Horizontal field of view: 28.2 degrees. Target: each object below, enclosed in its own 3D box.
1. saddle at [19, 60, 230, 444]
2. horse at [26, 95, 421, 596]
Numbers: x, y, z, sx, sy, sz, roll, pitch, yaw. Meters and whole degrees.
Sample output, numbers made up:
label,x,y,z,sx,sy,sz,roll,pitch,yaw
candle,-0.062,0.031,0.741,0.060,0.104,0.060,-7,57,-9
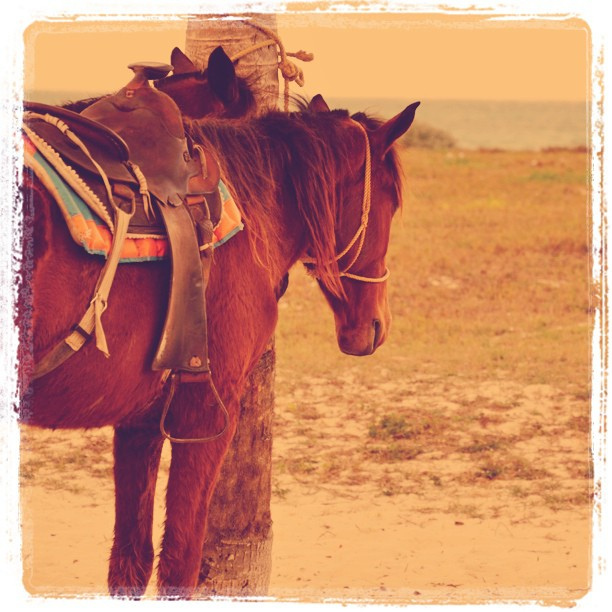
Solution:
label,x,y,z,sx,sy,sz,roll,pitch,yaw
saddle,-0.968,-0.243,6.788,1.041,1.983,0.793,-1,14,-8
horse,-0.565,0.352,7.551,1.164,3.180,3.556,2,1,44
